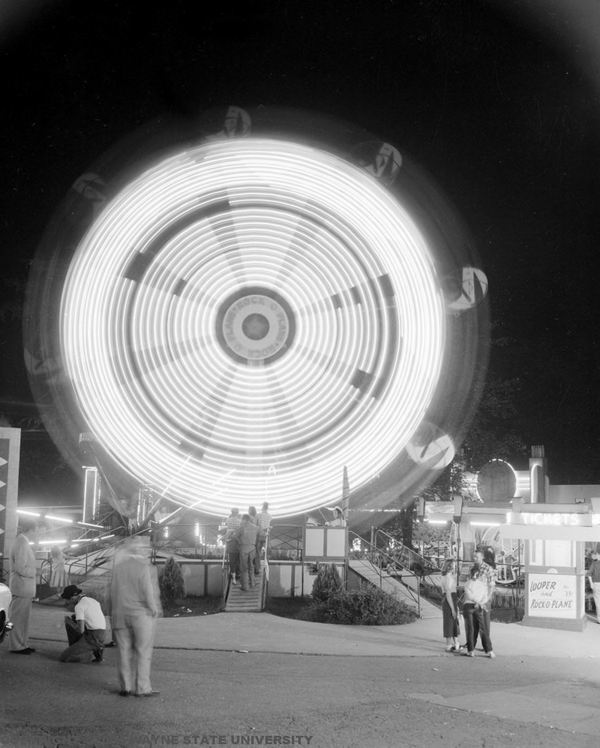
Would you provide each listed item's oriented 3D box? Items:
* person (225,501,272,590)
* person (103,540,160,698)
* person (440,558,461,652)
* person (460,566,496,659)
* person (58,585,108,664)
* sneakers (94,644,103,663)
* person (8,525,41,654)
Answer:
[{"bbox_3d":[-1.054,3.451,13.716,0.769,1.580,1.904,1,-10,1],"label":"person"},{"bbox_3d":[-1.478,2.160,6.189,0.432,1.235,0.698,3,-9,-15],"label":"person"},{"bbox_3d":[2.265,3.476,10.509,0.258,1.267,1.418,-1,-10,12],"label":"person"},{"bbox_3d":[2.453,3.248,9.610,0.413,1.244,0.583,-1,-9,14],"label":"person"},{"bbox_3d":[-2.436,2.801,7.820,0.505,0.771,0.848,4,-11,-19],"label":"person"},{"bbox_3d":[-2.207,3.045,7.607,0.091,0.170,0.335,4,-11,-16],"label":"sneakers"},{"bbox_3d":[-3.260,2.569,8.164,0.347,1.297,1.009,5,-10,-23],"label":"person"}]
